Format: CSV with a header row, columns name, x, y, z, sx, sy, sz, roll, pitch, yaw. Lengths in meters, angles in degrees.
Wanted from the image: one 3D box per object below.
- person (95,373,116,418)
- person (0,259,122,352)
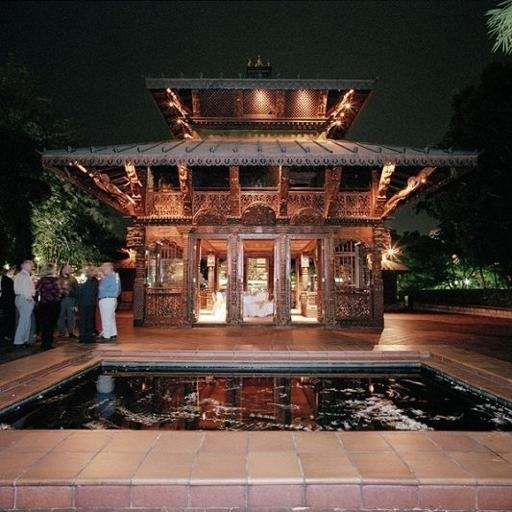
name,x,y,z,sx,sy,sz,roll,pitch,yaw
person,-2.186,1.973,7.029,0.283,0.216,0.873,-21,-26,-26
person,-4.461,0.968,9.837,0.765,1.757,1.186,3,-7,-45
